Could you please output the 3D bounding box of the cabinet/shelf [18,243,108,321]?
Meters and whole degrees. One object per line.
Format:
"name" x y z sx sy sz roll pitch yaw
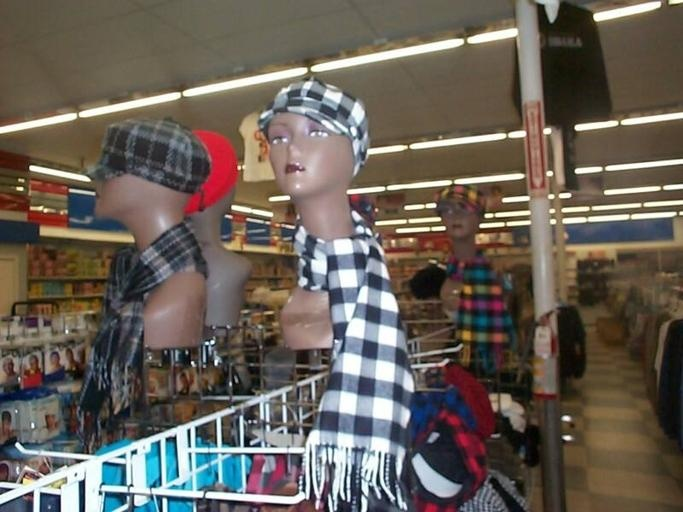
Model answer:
"cabinet/shelf" -2.639 0.335 5.557 0.236 0.755 0.752 -16 -10 31

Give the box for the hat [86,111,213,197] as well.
"hat" -0.622 -0.316 1.864 0.299 0.189 0.215 8 11 -10

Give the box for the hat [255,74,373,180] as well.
"hat" -0.051 -0.401 1.594 0.223 0.151 0.279 19 -25 25

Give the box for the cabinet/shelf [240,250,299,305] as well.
"cabinet/shelf" -0.256 0.106 2.277 0.205 0.221 0.120 -1 -15 20

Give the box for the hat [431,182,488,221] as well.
"hat" 0.397 -0.172 1.962 0.099 0.065 0.138 4 -7 39
